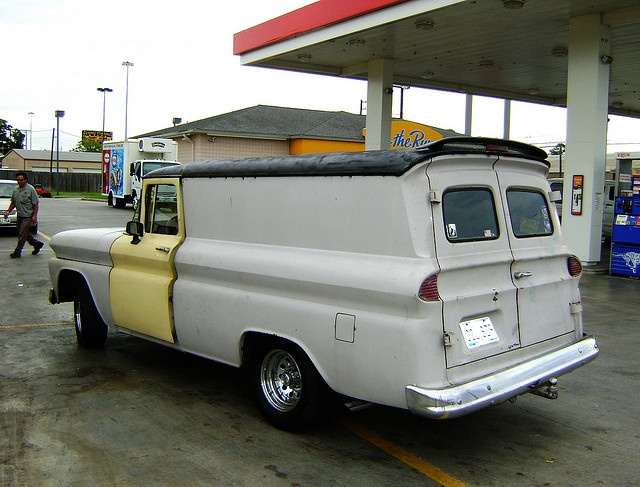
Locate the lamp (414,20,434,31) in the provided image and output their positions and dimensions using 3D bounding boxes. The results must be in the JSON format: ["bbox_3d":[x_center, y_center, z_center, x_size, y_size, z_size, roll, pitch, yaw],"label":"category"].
[{"bbox_3d":[3.067,-6.454,14.288,0.547,0.158,0.531,2,7,9],"label":"lamp"}]

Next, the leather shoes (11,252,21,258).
[{"bbox_3d":[-8.177,0.320,13.025,0.245,0.147,0.346,-3,8,-32],"label":"leather shoes"}]
